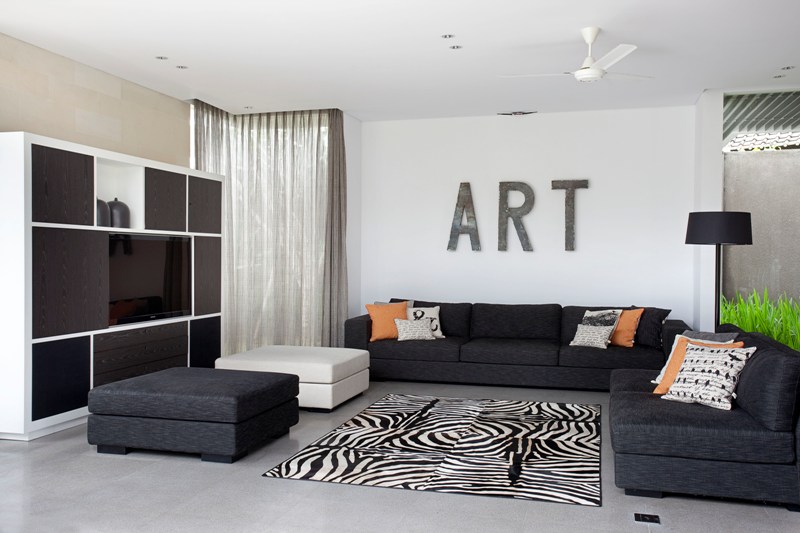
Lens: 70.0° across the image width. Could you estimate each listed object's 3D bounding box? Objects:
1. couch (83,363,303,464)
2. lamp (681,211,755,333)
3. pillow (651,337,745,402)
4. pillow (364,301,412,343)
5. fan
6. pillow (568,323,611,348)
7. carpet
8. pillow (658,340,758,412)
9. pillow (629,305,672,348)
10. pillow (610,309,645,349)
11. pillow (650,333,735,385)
[{"bbox_3d":[-1.693,1.165,5.110,1.141,0.350,0.922,-1,-3,15],"label":"couch"},{"bbox_3d":[3.436,0.090,6.207,0.600,1.349,1.676,4,8,29],"label":"lamp"},{"bbox_3d":[2.585,0.962,5.032,0.801,0.218,0.740,-5,-47,25],"label":"pillow"},{"bbox_3d":[-0.195,0.708,7.522,0.257,0.469,0.698,17,9,35],"label":"pillow"},{"bbox_3d":[1.824,-1.987,5.583,0.851,0.248,0.805,-2,0,30],"label":"fan"},{"bbox_3d":[2.315,0.840,6.915,0.438,0.242,0.270,4,8,30],"label":"pillow"},{"bbox_3d":[0.548,1.557,5.337,2.648,0.058,2.283,1,6,11],"label":"carpet"},{"bbox_3d":[2.454,0.849,4.568,0.179,0.536,0.586,44,-22,-24],"label":"pillow"},{"bbox_3d":[3.034,0.752,6.904,0.511,0.410,0.145,-3,-18,26],"label":"pillow"},{"bbox_3d":[2.750,0.748,6.922,0.139,0.404,0.449,33,0,-21],"label":"pillow"},{"bbox_3d":[2.586,0.729,4.943,0.172,0.506,0.554,35,-8,-9],"label":"pillow"}]
